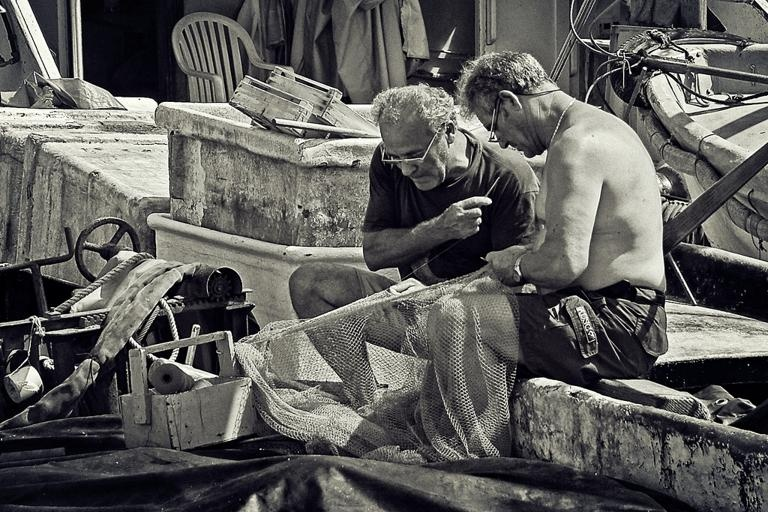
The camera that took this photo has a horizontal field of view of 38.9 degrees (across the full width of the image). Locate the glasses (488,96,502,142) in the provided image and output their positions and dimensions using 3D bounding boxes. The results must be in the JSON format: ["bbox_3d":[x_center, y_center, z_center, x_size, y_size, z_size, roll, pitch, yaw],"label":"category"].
[{"bbox_3d":[0.658,-0.819,6.508,0.047,0.202,0.181,0,1,16],"label":"glasses"}]
